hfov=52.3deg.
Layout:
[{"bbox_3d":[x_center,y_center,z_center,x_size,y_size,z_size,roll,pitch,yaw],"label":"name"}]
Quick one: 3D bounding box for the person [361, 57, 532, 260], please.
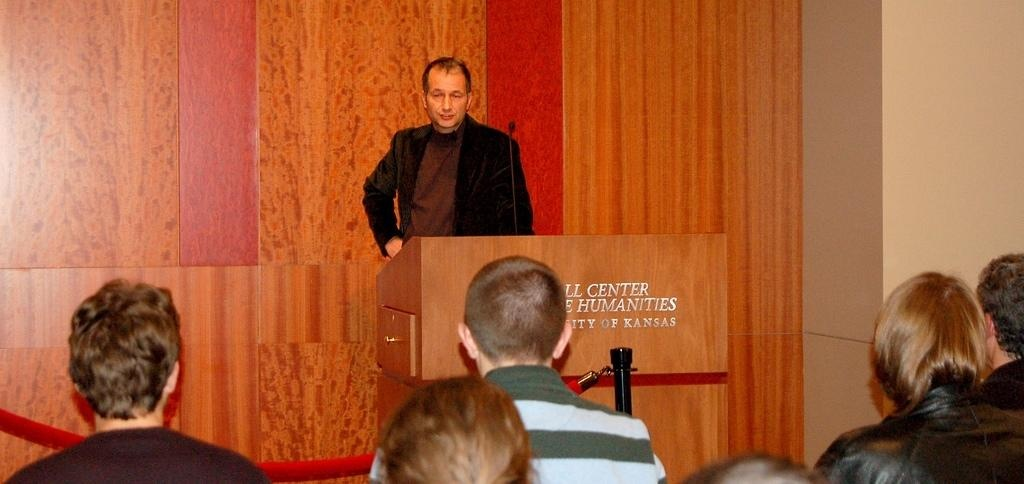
[{"bbox_3d":[-0.582,-0.742,9.094,1.466,1.681,0.448,0,1,29],"label":"person"}]
